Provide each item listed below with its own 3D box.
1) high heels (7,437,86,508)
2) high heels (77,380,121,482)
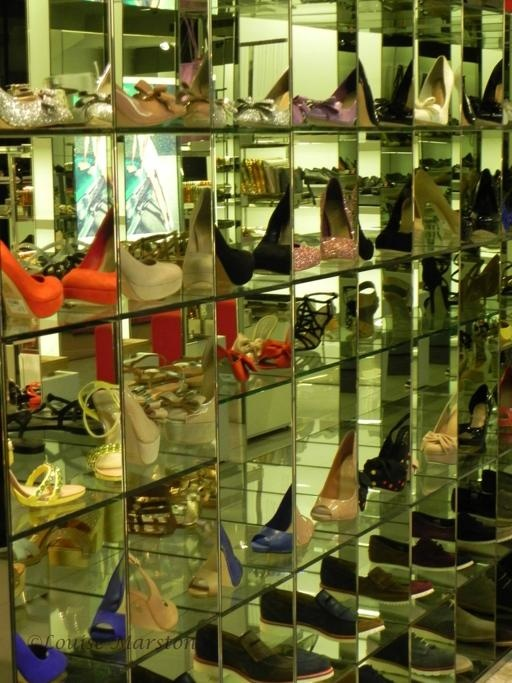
[{"bbox_3d":[-0.313,0.206,0.923,0.059,0.073,0.144,2,8,33],"label":"high heels"},{"bbox_3d":[-0.248,0.144,1.041,0.062,0.173,0.068,-4,-1,-2],"label":"high heels"}]
